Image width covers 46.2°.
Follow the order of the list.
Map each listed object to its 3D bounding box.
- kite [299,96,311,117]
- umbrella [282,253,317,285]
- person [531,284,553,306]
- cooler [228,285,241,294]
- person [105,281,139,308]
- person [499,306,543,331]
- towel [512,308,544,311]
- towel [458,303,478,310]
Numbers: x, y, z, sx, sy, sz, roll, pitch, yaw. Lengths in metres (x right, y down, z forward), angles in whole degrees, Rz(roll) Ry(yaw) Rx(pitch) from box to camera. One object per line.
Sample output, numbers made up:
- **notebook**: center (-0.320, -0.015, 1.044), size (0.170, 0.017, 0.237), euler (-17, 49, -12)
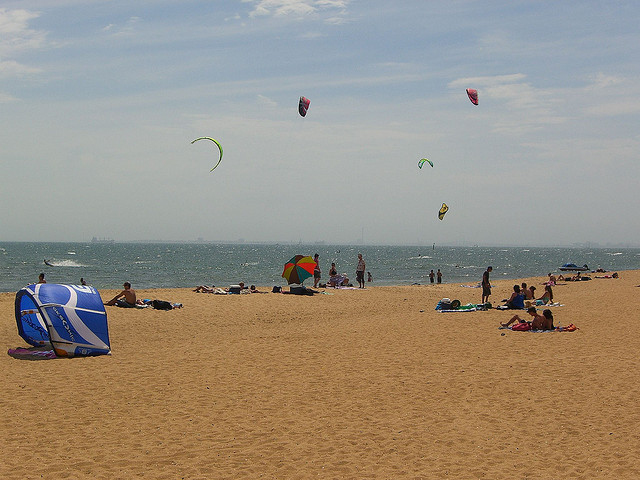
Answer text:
- **kite**: center (-0.681, -5.176, 29.087), size (0.320, 0.644, 0.665), euler (0, 11, -2)
- **umbrella**: center (-0.949, 1.386, 32.745), size (1.363, 1.493, 1.806), euler (0, 11, -2)
- **person**: center (8.081, 1.936, 27.376), size (0.751, 0.825, 1.455), euler (4, 11, 17)
- **cooler**: center (-3.586, 2.065, 31.262), size (0.476, 0.227, 0.692), euler (-1, 10, -7)
- **person**: center (-6.998, 1.854, 25.966), size (1.387, 0.902, 1.007), euler (-1, -10, 8)
- **person**: center (6.027, 2.250, 21.943), size (1.029, 0.628, 1.246), euler (5, 12, 24)
- **towel**: center (7.078, 2.376, 25.803), size (0.897, 0.126, 0.060), euler (3, -2, 2)
- **towel**: center (5.097, 2.319, 26.085), size (0.530, 0.137, 0.584), euler (5, 11, 23)
